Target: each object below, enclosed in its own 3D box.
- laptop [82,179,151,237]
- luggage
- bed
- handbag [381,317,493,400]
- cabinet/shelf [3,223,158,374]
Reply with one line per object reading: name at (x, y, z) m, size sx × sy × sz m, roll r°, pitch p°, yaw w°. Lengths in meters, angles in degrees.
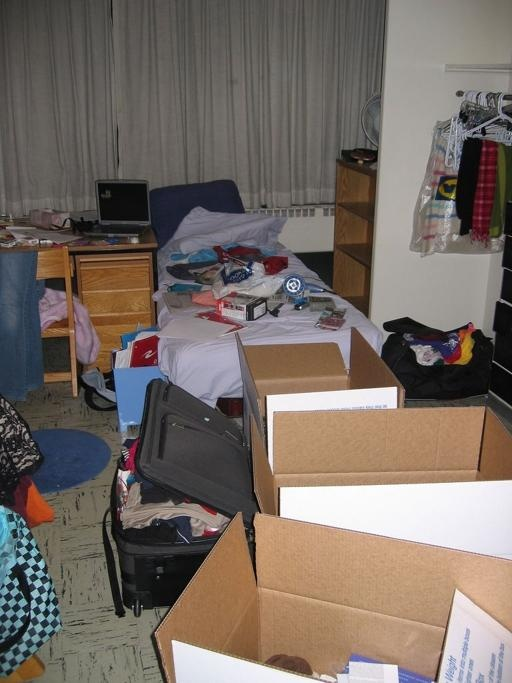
laptop at (-0.928, -0.884, 3.507) m, size 0.372 × 0.354 × 0.298 m, roll 1°, pitch 16°, yaw 3°
luggage at (-0.279, 0.532, 1.854) m, size 0.456 × 0.624 × 0.628 m, roll -6°, pitch 19°, yaw -12°
bed at (-0.268, -0.275, 3.251) m, size 1.043 × 0.598 × 1.742 m, roll -9°, pitch 47°, yaw -13°
handbag at (1.017, 0.105, 2.958) m, size 0.509 × 0.191 × 0.526 m, roll 2°, pitch 25°, yaw 12°
cabinet/shelf at (-0.989, -0.428, 3.571) m, size 1.000 × 1.052 × 0.699 m, roll -3°, pitch 18°, yaw -8°
